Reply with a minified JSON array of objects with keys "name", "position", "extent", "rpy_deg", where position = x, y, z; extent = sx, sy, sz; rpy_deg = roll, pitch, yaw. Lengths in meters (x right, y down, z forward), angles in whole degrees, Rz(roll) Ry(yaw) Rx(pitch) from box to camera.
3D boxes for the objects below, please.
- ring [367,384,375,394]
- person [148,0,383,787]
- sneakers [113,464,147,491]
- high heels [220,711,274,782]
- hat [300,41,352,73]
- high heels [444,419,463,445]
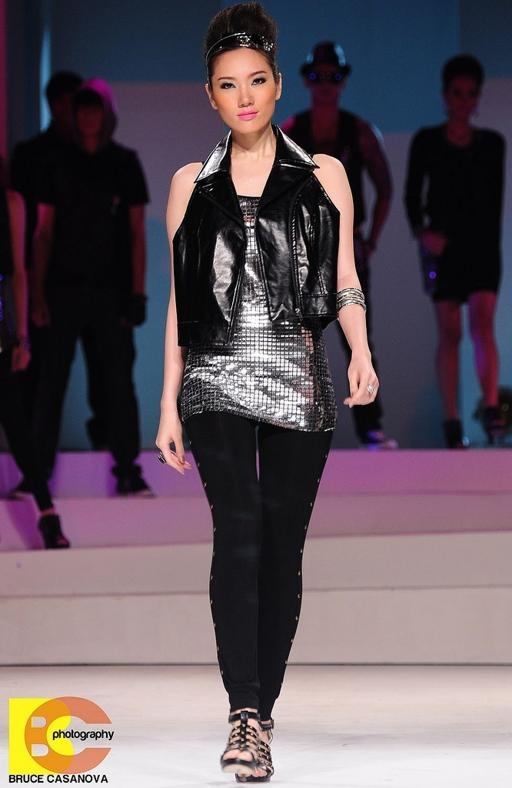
[{"name":"ring","position":[0.173,-0.007,1.212],"extent":[0.004,0.012,0.013],"rpy_deg":[-3,17,37]},{"name":"person","position":[0.021,-0.044,1.212],"extent":[0.340,1.166,0.451],"rpy_deg":[-1,6,-7]},{"name":"sneakers","position":[-0.481,0.322,3.067],"extent":[0.143,0.093,0.110],"rpy_deg":[0,6,-4]},{"name":"high heels","position":[-0.009,0.492,1.123],"extent":[0.053,0.063,0.153],"rpy_deg":[-1,-22,3]},{"name":"hat","position":[0.318,-1.574,3.819],"extent":[0.197,0.089,0.191],"rpy_deg":[1,-2,-4]},{"name":"high heels","position":[0.825,0.170,3.367],"extent":[0.048,0.134,0.055],"rpy_deg":[-4,-7,6]}]
